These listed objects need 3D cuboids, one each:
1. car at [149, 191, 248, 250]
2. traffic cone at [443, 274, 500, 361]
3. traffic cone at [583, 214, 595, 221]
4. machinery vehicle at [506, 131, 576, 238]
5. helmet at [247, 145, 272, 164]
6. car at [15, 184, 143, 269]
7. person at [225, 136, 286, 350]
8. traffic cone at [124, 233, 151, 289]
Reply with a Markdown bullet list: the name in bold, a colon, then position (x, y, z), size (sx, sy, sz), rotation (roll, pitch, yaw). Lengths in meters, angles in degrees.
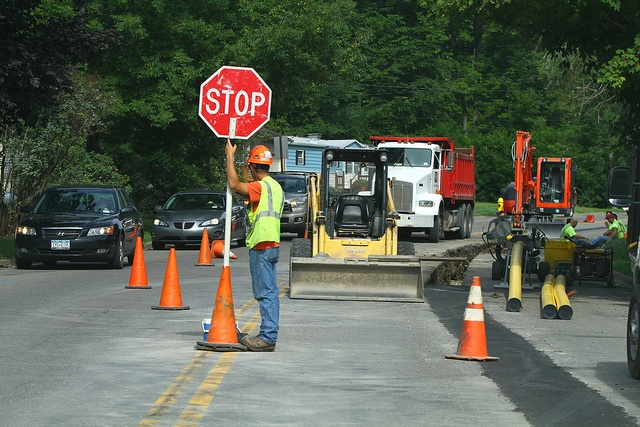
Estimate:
- **car**: position (-3.624, 0.242, 29.342), size (2.565, 1.957, 5.675), rotation (0, -1, 0)
- **traffic cone**: position (2.566, 1.706, 15.885), size (0.762, 1.303, 0.496), rotation (3, 10, 7)
- **traffic cone**: position (13.575, 0.184, 48.441), size (0.364, 0.229, 0.355), rotation (1, -4, -28)
- **machinery vehicle**: position (7.255, -0.713, 31.495), size (2.235, 3.359, 6.611), rotation (1, 4, 13)
- **helmet**: position (-0.991, -0.981, 16.050), size (0.301, 0.210, 0.358), rotation (2, 6, -29)
- **car**: position (-6.528, 0.240, 26.708), size (2.903, 2.004, 5.000), rotation (1, 3, 0)
- **person**: position (-0.902, 0.602, 15.850), size (1.335, 3.025, 1.176), rotation (0, 0, -22)
- **traffic cone**: position (-4.035, 1.046, 21.515), size (0.569, 1.292, 1.357), rotation (0, 10, -10)
